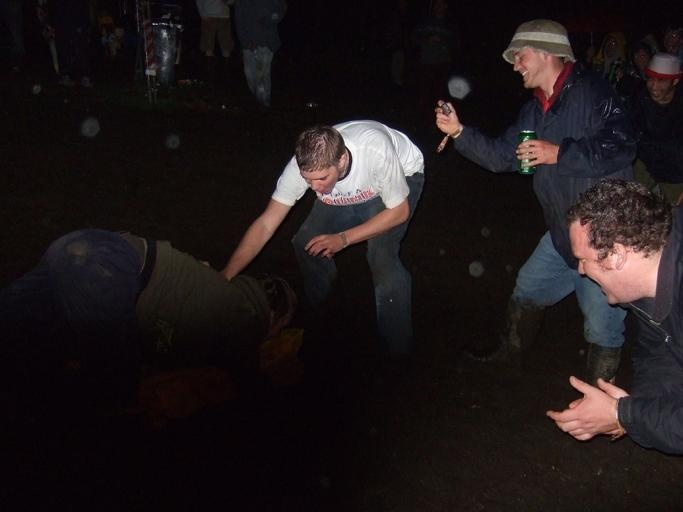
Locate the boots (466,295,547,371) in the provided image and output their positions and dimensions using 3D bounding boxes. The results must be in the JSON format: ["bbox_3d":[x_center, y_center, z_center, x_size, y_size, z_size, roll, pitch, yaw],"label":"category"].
[{"bbox_3d":[1.321,0.663,4.391,0.743,0.858,0.396,-1,46,14],"label":"boots"}]

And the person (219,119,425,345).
[{"bbox_3d":[-0.162,-0.134,4.712,1.053,2.022,1.523,28,71,21],"label":"person"}]

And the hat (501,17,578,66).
[{"bbox_3d":[1.567,-1.727,3.967,0.446,0.263,0.479,3,33,23],"label":"hat"}]

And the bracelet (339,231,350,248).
[{"bbox_3d":[0.027,-0.144,4.166,0.075,0.113,0.116,-31,18,-7],"label":"bracelet"}]
